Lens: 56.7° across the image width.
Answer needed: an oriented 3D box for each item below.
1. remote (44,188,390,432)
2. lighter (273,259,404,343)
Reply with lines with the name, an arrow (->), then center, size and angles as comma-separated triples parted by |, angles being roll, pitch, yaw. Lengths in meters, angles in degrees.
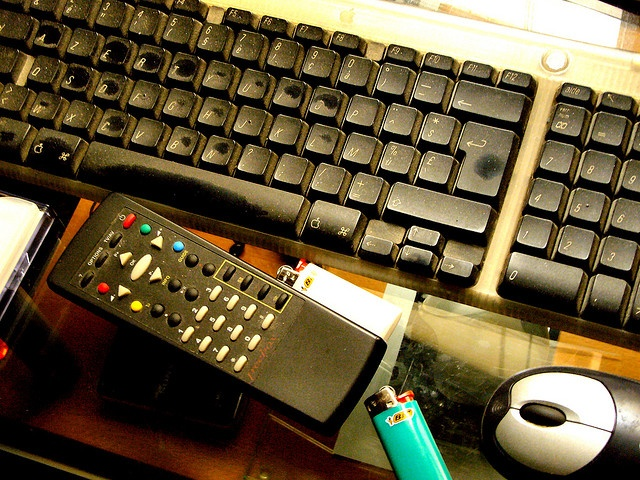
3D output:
remote -> -0.119, 0.082, 0.669 | 0.364, 0.061, 0.155 | 26, 44, 4
lighter -> 0.022, 0.060, 0.704 | 0.144, 0.025, 0.071 | 25, -43, -4
